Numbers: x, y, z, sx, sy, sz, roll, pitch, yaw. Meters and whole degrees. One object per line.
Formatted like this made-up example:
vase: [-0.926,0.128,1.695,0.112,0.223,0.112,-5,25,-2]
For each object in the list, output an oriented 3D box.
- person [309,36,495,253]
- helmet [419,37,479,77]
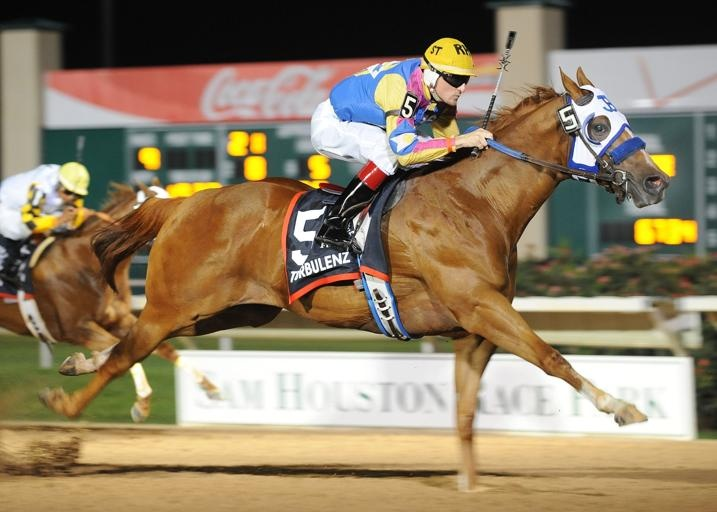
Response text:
person: [0.243,-0.742,9.321,1.100,1.342,0.557,-1,17,-2]
helmet: [0.570,-1.285,9.203,0.341,0.147,0.243,20,31,30]
